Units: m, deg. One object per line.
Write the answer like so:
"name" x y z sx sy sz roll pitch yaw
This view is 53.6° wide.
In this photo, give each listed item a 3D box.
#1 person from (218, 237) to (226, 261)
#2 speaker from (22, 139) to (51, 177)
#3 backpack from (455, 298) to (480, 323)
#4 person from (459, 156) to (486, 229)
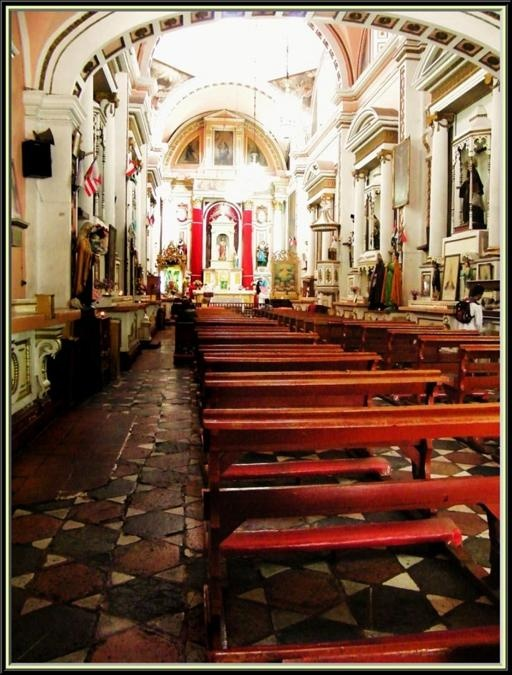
"person" -1.635 -4.465 24.729 0.488 1.355 0.822 0 4 -5
"speaker" -2.066 -1.703 4.783 0.288 0.443 0.227 1 11 -18
"backpack" 2.713 -0.357 6.578 0.233 0.266 0.258 8 0 -3
"person" 3.556 -2.298 8.329 0.241 1.067 0.679 1 4 6
